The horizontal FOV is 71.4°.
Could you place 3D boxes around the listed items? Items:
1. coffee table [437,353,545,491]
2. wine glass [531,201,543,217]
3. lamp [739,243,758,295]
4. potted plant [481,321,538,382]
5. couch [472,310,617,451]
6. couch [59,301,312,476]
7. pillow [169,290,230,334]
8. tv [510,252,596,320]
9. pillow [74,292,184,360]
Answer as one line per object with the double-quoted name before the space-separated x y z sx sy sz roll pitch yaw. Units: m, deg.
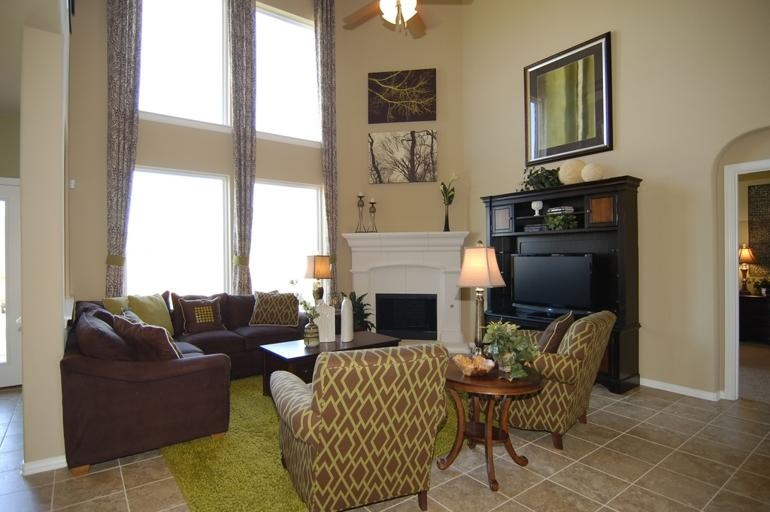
"coffee table" 1.007 1.650 5.611 1.240 0.988 1.106 3 -3 -41
"wine glass" 2.224 -0.697 7.924 0.200 0.264 0.205 0 -3 -4
"lamp" 6.481 0.191 9.593 0.232 0.863 0.162 -1 3 40
"potted plant" 1.307 0.932 5.610 0.570 0.584 0.578 1 0 -31
"couch" 1.918 1.199 6.254 1.214 1.529 1.607 -3 -3 37
"couch" -2.397 1.387 6.012 1.891 0.835 1.730 -1 2 -34
"pillow" -2.702 0.871 7.915 0.951 0.807 0.505 4 -11 -35
"tv" 2.444 0.425 7.653 0.232 0.673 0.902 -6 7 -44
"pillow" -2.709 0.866 5.650 0.777 0.240 0.756 22 -4 -30
